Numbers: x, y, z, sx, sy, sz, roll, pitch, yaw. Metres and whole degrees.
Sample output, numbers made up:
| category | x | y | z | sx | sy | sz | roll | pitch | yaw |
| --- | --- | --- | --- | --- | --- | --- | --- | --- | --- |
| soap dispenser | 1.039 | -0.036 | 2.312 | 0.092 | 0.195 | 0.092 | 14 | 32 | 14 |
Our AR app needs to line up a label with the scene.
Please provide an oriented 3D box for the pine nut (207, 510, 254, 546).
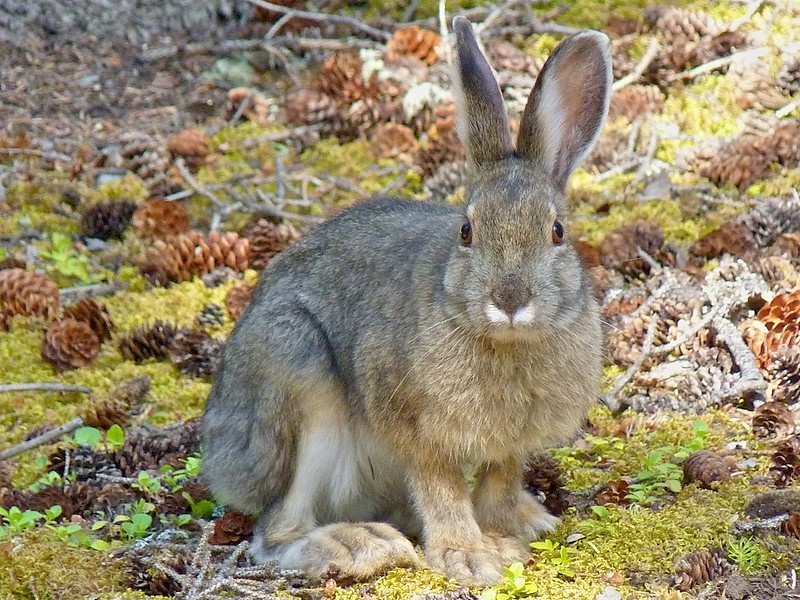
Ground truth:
| category | x | y | z | sx | sy | sz | roll | pitch | yaw |
| --- | --- | --- | --- | --- | --- | --- | --- | --- | --- |
| pine nut | -0.986 | 1.334 | 5.621 | 0.186 | 0.068 | 0.187 | 21 | 53 | 26 |
